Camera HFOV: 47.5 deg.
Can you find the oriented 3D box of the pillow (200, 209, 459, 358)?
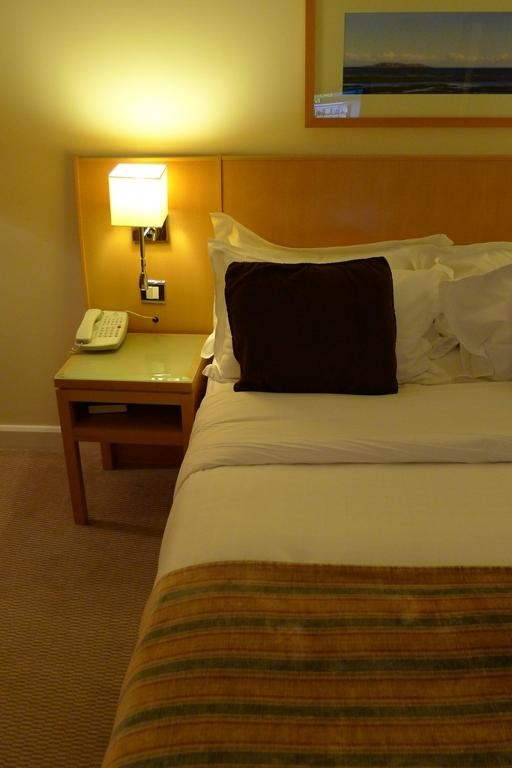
[{"bbox_3d":[0.260,-0.329,1.894,0.568,0.419,0.068,0,-1,-1],"label":"pillow"}]

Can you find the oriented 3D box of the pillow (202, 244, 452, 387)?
[{"bbox_3d":[0.232,-0.200,1.779,0.493,0.369,0.080,0,-20,-2],"label":"pillow"}]

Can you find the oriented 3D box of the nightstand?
[{"bbox_3d":[-0.480,0.185,2.196,0.380,0.485,0.426,2,16,11],"label":"nightstand"}]

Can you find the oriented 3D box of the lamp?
[{"bbox_3d":[-0.430,-0.562,2.225,0.216,0.537,0.290,-5,18,-9],"label":"lamp"}]

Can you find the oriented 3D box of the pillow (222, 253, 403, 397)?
[{"bbox_3d":[0.169,-0.162,1.717,0.445,0.429,0.137,-1,2,2],"label":"pillow"}]

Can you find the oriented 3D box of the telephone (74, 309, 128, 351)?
[{"bbox_3d":[-0.597,-0.183,2.275,0.162,0.067,0.226,0,45,-1],"label":"telephone"}]

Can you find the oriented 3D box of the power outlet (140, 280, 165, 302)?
[{"bbox_3d":[-0.422,-0.374,2.386,0.088,0.085,0.083,-1,28,-1],"label":"power outlet"}]
